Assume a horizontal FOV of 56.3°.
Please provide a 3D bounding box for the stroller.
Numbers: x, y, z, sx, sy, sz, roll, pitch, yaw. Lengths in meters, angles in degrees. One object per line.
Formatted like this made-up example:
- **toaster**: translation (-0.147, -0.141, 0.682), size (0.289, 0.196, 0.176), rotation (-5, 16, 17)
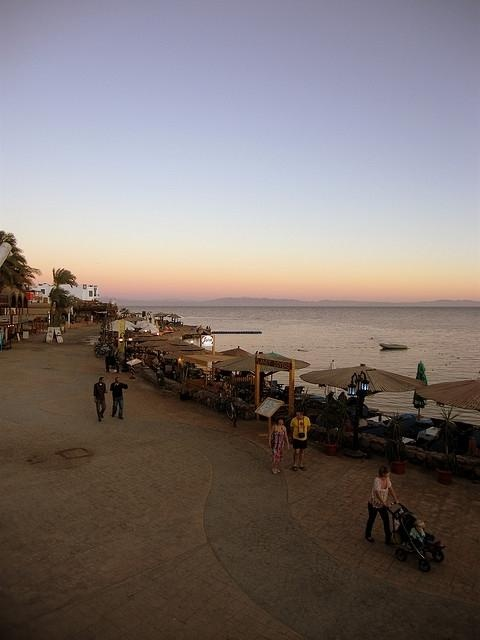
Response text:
- **stroller**: translation (2.565, 3.159, 6.597), size (0.519, 0.689, 0.846), rotation (0, 0, -31)

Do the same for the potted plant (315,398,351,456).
- **potted plant**: translation (2.592, 2.862, 12.595), size (0.931, 1.090, 1.674), rotation (1, -1, 12)

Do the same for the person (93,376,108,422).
- **person**: translation (-4.939, 2.656, 15.834), size (0.391, 1.442, 2.319), rotation (2, -1, -17)

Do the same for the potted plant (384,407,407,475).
- **potted plant**: translation (3.651, 2.949, 10.549), size (0.451, 0.879, 0.627), rotation (1, -1, 20)

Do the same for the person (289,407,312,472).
- **person**: translation (1.433, 2.843, 10.859), size (0.415, 1.088, 0.973), rotation (1, -1, 7)

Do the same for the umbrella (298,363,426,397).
- **umbrella**: translation (3.289, 1.634, 12.579), size (1.673, 0.561, 1.741), rotation (3, -1, 39)
